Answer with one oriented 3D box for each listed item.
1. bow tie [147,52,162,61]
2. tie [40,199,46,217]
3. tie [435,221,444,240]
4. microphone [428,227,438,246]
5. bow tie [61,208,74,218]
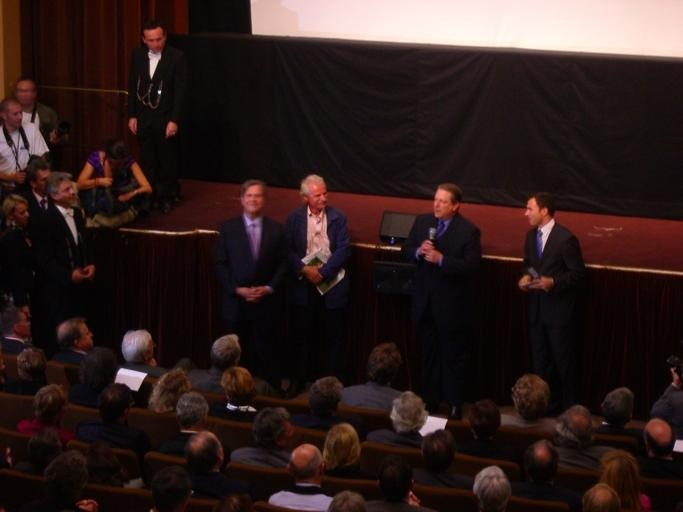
[{"bbox_3d":[-2.058,-2.223,6.747,0.165,0.091,0.030,3,3,10],"label":"bow tie"},{"bbox_3d":[-2.711,-0.469,5.575,0.064,0.128,0.056,5,5,42],"label":"tie"},{"bbox_3d":[0.849,-0.222,5.263,0.100,0.149,0.037,12,-12,45],"label":"tie"},{"bbox_3d":[0.772,-0.179,5.190,0.075,0.133,0.193,2,4,9],"label":"microphone"},{"bbox_3d":[-2.456,-0.388,5.480,0.030,0.087,0.078,2,3,43],"label":"bow tie"}]
